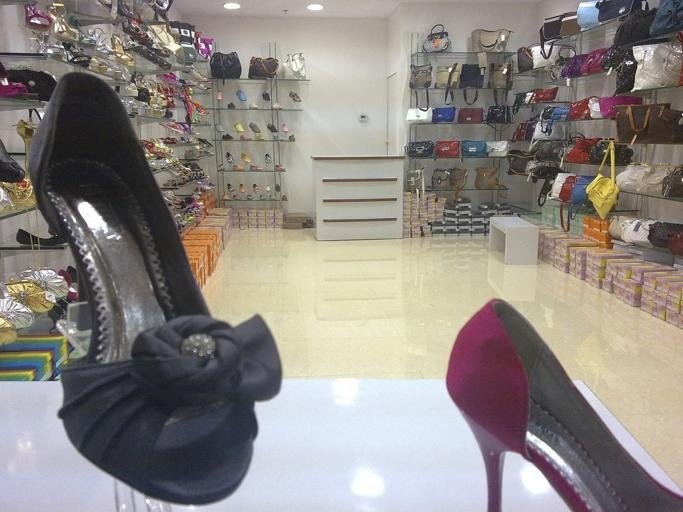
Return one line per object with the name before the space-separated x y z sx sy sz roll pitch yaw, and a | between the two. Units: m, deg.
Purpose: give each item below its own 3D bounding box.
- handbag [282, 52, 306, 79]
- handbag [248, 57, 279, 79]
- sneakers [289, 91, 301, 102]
handbag | -0.754 -3.047 7.157 0.337 0.438 0.445 3 22 1
handbag | -1.236 -2.952 7.025 0.519 0.382 0.297 0 25 -3
sneakers | -0.765 -2.622 7.407 0.198 0.117 0.077 16 -19 -38
